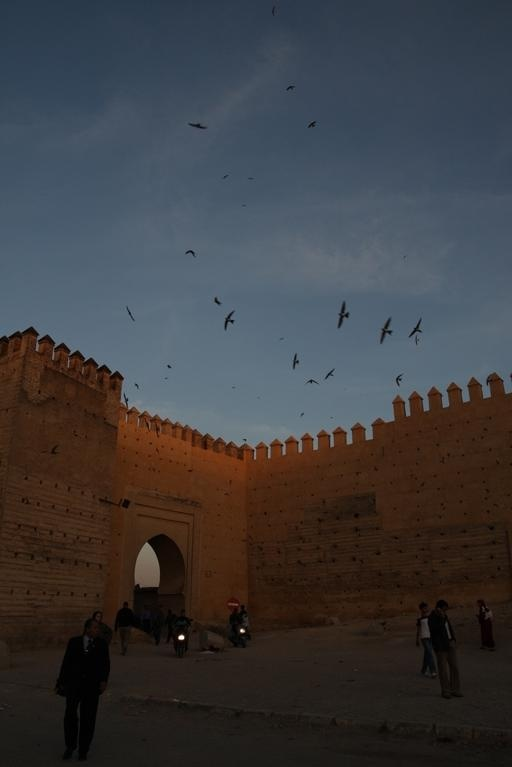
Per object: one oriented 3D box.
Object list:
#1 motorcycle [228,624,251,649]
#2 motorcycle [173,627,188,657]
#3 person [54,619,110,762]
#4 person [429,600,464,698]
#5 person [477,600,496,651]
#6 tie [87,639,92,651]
[{"bbox_3d":[-0.377,5.713,13.113,0.392,0.474,0.809,2,-15,-4],"label":"motorcycle"},{"bbox_3d":[-1.416,4.898,10.927,0.336,0.431,0.694,2,-24,-1],"label":"motorcycle"},{"bbox_3d":[-1.084,1.903,3.634,0.299,0.757,0.465,12,-26,-22],"label":"person"},{"bbox_3d":[1.920,2.716,5.824,0.249,0.823,0.480,-5,-25,14],"label":"person"},{"bbox_3d":[3.850,4.044,9.577,0.203,0.759,1.072,-7,-26,18],"label":"person"},{"bbox_3d":[-1.129,1.749,3.860,0.031,0.042,0.017,-1,-5,2],"label":"tie"}]
